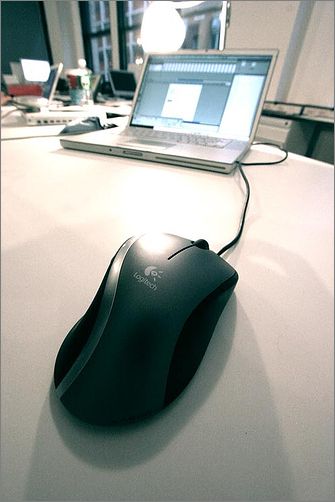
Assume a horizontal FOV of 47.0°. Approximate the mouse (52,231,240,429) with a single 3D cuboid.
[{"bbox_3d":[-0.015,0.045,0.272,0.078,0.039,0.133,20,52,19],"label":"mouse"}]
